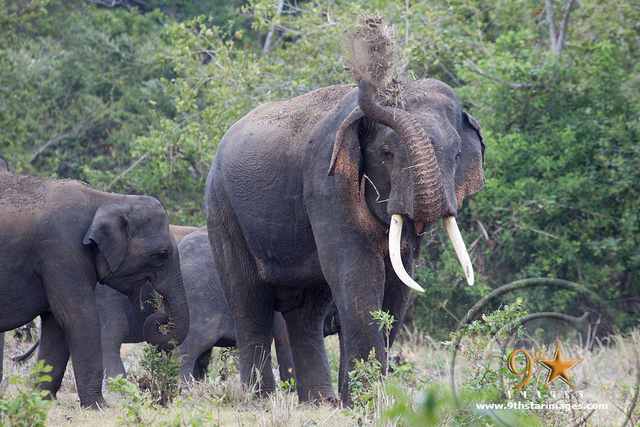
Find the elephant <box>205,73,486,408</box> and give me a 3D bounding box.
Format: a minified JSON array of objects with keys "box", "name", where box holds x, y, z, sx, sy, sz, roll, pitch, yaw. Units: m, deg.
[{"box":[0.181,0.347,9.140,1.646,3.303,3.559,2,-5,-39],"name":"elephant"}]
